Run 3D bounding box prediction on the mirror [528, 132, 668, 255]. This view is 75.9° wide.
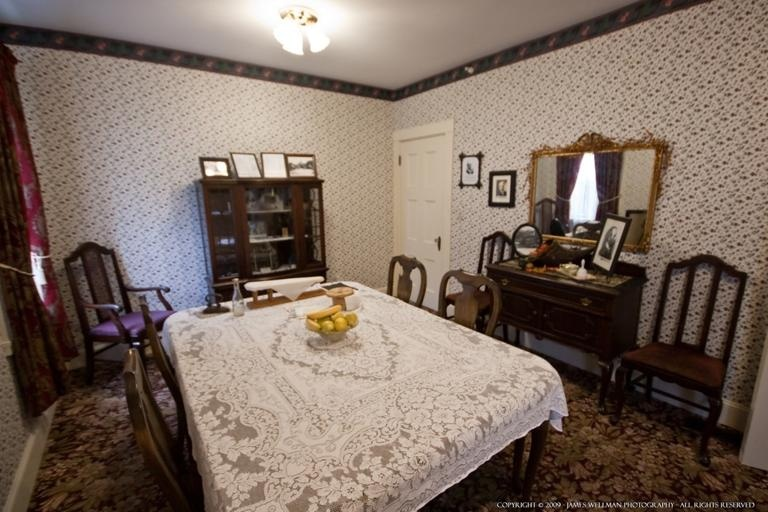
[{"bbox_3d":[2.066,-0.593,4.652,0.055,1.055,1.158,-13,18,-42],"label":"mirror"}]

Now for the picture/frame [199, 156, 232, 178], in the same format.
[{"bbox_3d":[-1.826,-0.945,5.264,0.019,0.220,0.270,-5,6,45],"label":"picture/frame"}]

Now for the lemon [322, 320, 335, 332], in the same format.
[{"bbox_3d":[-0.409,0.511,3.616,0.074,0.084,0.074,19,0,32],"label":"lemon"}]

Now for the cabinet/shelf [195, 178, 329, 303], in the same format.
[{"bbox_3d":[-1.376,-0.176,5.230,1.312,1.356,0.377,-9,14,-36],"label":"cabinet/shelf"}]

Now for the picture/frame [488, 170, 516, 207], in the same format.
[{"bbox_3d":[1.292,-0.738,5.360,0.049,0.446,0.377,-8,15,-44],"label":"picture/frame"}]

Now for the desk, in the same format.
[{"bbox_3d":[1.711,0.601,4.901,0.722,1.220,1.368,-14,19,-38],"label":"desk"}]

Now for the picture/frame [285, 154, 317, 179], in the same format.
[{"bbox_3d":[-0.997,-1.040,5.738,0.335,0.269,0.024,-11,9,-37],"label":"picture/frame"}]

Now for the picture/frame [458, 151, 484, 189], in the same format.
[{"bbox_3d":[1.003,-0.989,5.636,0.018,0.472,0.419,-9,15,-38],"label":"picture/frame"}]

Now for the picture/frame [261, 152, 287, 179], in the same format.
[{"bbox_3d":[-1.271,-1.018,5.598,0.325,0.359,0.026,-13,0,-41],"label":"picture/frame"}]

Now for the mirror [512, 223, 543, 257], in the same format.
[{"bbox_3d":[1.499,-0.164,5.118,0.051,0.354,0.317,-10,17,-39],"label":"mirror"}]

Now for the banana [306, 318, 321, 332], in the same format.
[{"bbox_3d":[-0.523,0.500,3.609,0.059,0.046,0.124,-28,42,-21],"label":"banana"}]

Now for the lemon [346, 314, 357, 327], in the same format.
[{"bbox_3d":[-0.241,0.472,3.669,0.098,0.089,0.087,-1,11,-21],"label":"lemon"}]

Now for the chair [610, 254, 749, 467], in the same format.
[{"bbox_3d":[2.580,0.810,4.216,0.725,1.533,0.833,-13,21,-34],"label":"chair"}]

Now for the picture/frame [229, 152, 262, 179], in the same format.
[{"bbox_3d":[-1.566,-1.002,5.462,0.025,0.341,0.296,-14,10,45],"label":"picture/frame"}]

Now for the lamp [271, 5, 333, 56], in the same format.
[{"bbox_3d":[-0.766,-2.022,4.530,0.498,0.415,0.735,-3,9,-7],"label":"lamp"}]
